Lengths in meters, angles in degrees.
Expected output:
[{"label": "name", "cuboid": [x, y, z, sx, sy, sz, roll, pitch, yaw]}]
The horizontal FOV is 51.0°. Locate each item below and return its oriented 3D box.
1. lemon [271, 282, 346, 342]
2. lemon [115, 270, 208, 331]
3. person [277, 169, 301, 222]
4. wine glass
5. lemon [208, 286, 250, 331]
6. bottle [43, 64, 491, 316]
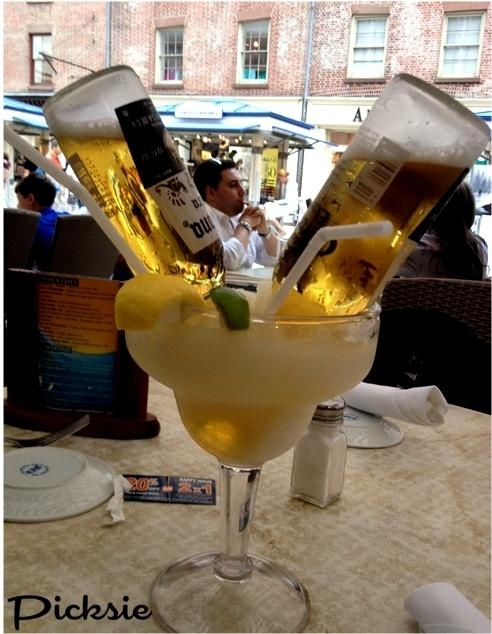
[{"label": "lemon", "cuboid": [0.041, -0.011, 0.359, 0.049, 0.030, 0.120, 6, 11, 2]}, {"label": "lemon", "cuboid": [-0.050, -0.011, 0.312, 0.043, 0.013, 0.041, -16, 46, -36]}, {"label": "person", "cuboid": [0.491, -1.827, 7.576, 0.427, 0.677, 0.350, -19, 30, -39]}, {"label": "wine glass", "cuboid": [-0.002, 0.101, 0.385, 0.197, 0.262, 0.120, 2, 13, -17]}, {"label": "lemon", "cuboid": [-0.011, -0.005, 0.305, 0.023, 0.023, 0.031, 0, 12, -25]}, {"label": "bottle", "cuboid": [0.001, -0.096, 0.392, 0.298, 0.176, 0.157, 12, 13, 29]}]
